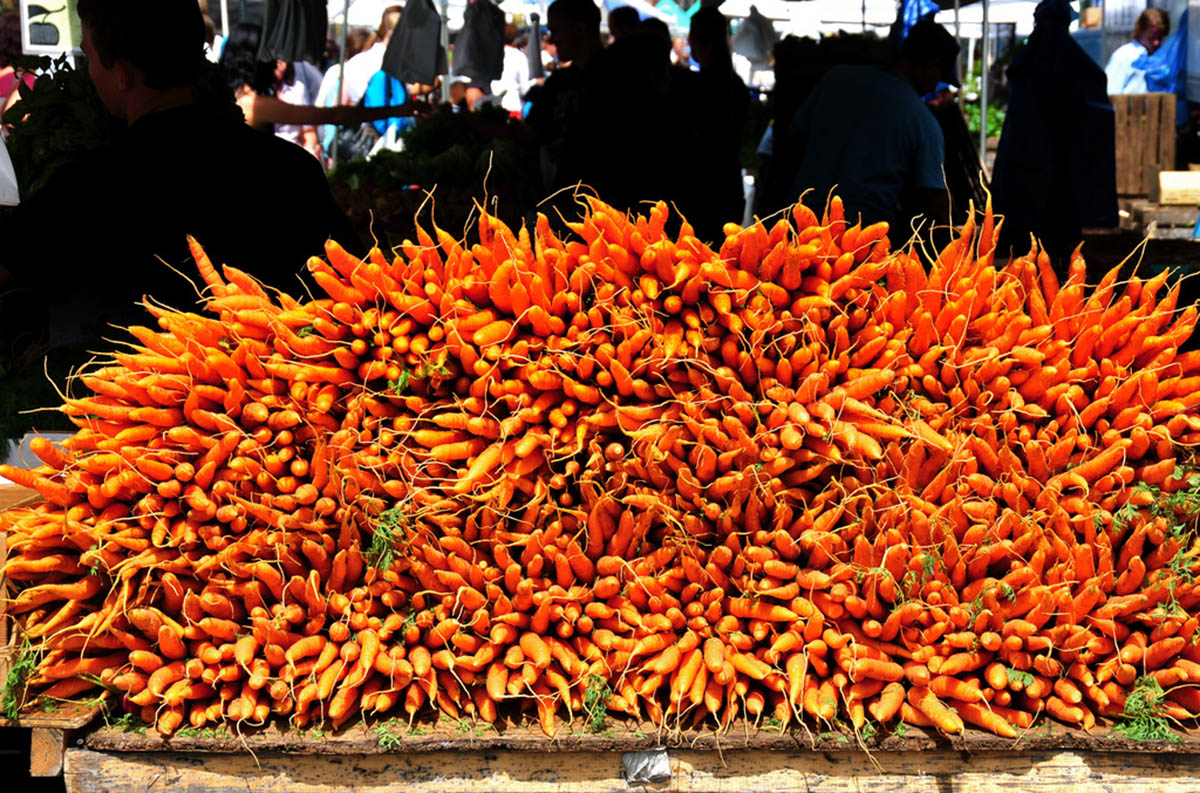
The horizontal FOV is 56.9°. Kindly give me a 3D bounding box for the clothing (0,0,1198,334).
[{"bbox_3d":[-0.053,-1.046,5.055,5.109,1.311,1.064,-2,-32,-2],"label":"clothing"}]
